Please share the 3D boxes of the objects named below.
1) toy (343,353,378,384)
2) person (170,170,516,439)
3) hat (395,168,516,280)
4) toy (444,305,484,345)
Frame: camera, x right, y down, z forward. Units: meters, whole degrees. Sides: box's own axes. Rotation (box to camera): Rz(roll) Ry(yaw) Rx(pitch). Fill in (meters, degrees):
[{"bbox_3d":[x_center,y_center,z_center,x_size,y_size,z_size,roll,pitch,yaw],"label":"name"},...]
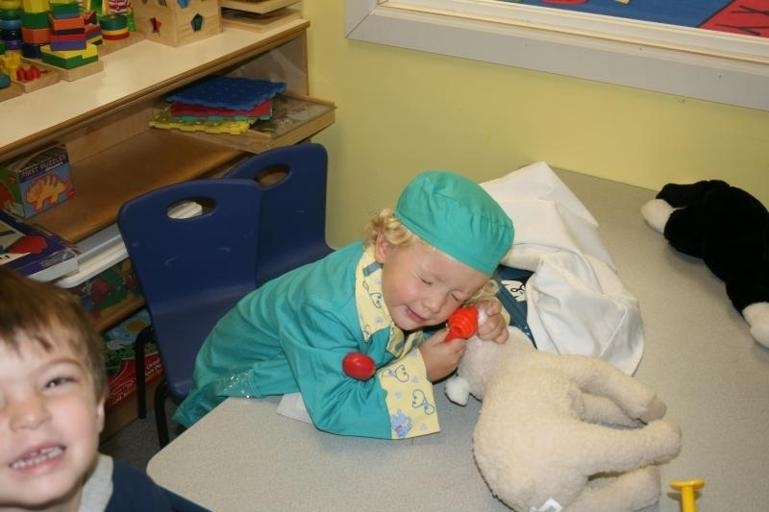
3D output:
[{"bbox_3d":[-0.046,0.232,1.274,0.066,0.051,0.050,22,10,0],"label":"toy"},{"bbox_3d":[-0.014,0.124,1.459,0.751,0.582,0.571,12,41,17],"label":"person"},{"bbox_3d":[0.166,-0.096,1.421,0.256,0.173,0.337,11,11,-38],"label":"hat"},{"bbox_3d":[0.177,0.150,1.344,0.063,0.046,0.110,30,61,31],"label":"toy"}]
